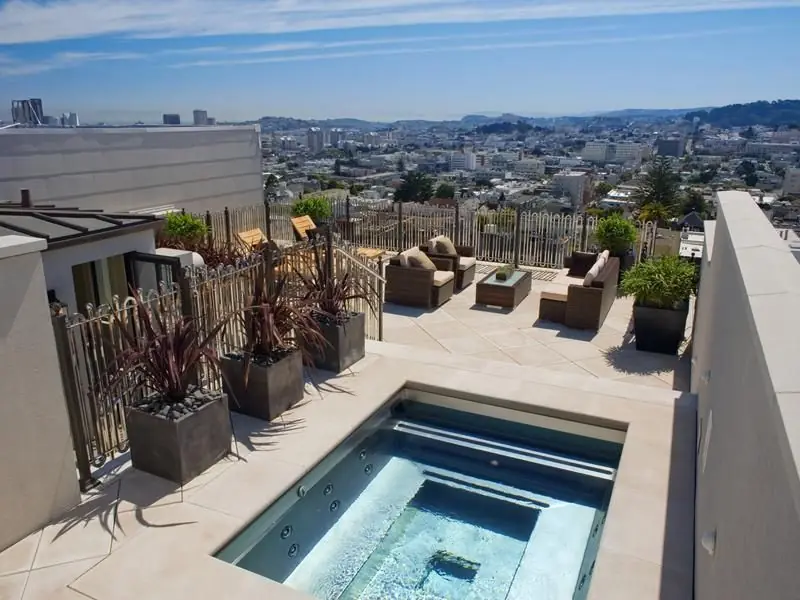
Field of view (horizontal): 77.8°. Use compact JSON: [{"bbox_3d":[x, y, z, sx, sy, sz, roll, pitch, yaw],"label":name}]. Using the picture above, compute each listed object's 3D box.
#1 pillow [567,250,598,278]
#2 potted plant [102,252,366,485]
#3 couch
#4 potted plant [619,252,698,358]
[{"bbox_3d":[3.183,-0.608,8.765,0.206,0.559,0.525,7,12,-46],"label":"pillow"},{"bbox_3d":[-1.440,0.681,4.468,0.684,0.882,1.845,8,20,22],"label":"potted plant"},{"bbox_3d":[2.883,-0.139,8.065,0.904,0.912,1.245,10,21,33],"label":"couch"},{"bbox_3d":[3.586,0.050,7.365,1.092,1.522,1.349,5,22,22],"label":"potted plant"}]
